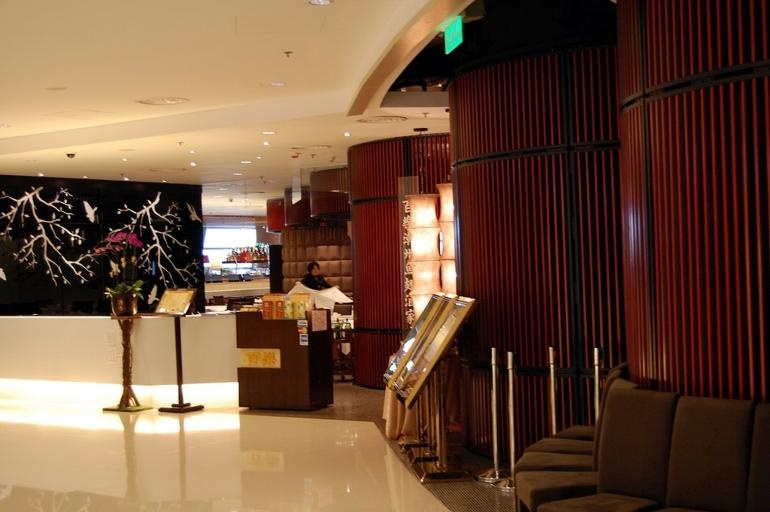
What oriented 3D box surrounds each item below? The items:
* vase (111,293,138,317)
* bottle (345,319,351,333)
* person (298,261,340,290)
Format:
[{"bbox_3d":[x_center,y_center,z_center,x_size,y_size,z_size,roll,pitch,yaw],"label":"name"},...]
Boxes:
[{"bbox_3d":[-3.843,0.720,8.779,0.334,0.273,0.354,0,-12,-2],"label":"vase"},{"bbox_3d":[-0.649,1.238,10.531,0.132,0.183,0.397,0,-2,-2],"label":"bottle"},{"bbox_3d":[-1.508,0.460,14.305,0.708,1.054,0.388,-5,-4,-44],"label":"person"}]
